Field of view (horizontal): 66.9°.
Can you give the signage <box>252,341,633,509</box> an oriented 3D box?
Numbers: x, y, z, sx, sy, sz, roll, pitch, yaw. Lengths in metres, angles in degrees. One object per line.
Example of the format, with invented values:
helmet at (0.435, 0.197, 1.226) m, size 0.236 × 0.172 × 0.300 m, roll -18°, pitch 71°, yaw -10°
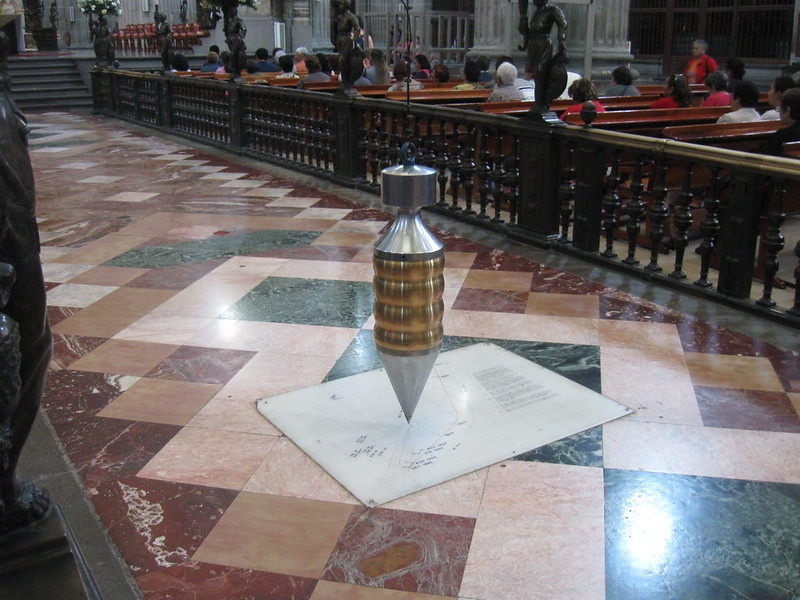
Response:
signage at (0.163, 0.456, 2.610) m, size 1.275 × 0.082 × 0.865 m, roll -12°, pitch 22°, yaw -29°
